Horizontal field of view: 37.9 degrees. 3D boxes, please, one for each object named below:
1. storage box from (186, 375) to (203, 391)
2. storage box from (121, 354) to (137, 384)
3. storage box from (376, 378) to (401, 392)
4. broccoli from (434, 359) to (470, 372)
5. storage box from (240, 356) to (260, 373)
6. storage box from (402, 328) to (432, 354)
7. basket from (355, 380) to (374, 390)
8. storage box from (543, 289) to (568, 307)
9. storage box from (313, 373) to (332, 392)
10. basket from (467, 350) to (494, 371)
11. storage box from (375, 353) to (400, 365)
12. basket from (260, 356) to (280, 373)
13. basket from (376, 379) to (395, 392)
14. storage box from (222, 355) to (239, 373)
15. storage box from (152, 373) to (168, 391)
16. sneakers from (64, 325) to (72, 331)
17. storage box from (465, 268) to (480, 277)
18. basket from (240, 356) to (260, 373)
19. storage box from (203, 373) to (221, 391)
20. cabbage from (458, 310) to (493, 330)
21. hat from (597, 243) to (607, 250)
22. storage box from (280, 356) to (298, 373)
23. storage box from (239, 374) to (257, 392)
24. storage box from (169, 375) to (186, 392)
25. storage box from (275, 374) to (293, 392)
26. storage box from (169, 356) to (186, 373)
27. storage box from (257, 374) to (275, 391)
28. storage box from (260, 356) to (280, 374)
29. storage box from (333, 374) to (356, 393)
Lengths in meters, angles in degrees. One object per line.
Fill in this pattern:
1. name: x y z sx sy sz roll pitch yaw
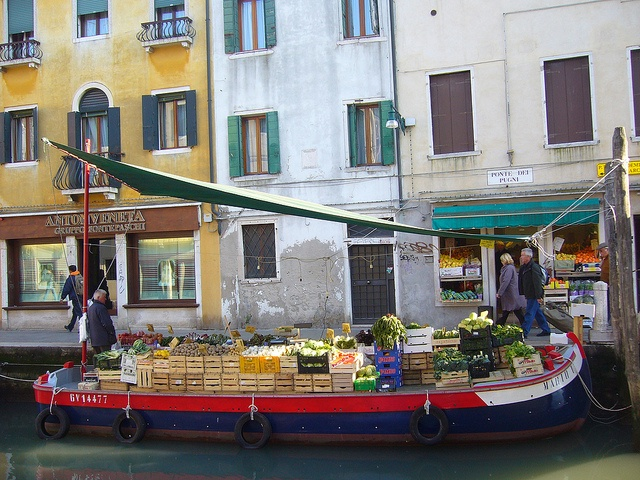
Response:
1. storage box: -2.705 3.124 20.288 0.354 0.360 0.262 0 -4 12
2. storage box: -4.191 2.884 20.620 0.538 0.549 0.144 2 -4 23
3. storage box: 1.443 3.107 19.793 0.330 0.210 0.332 -1 -5 6
4. broccoli: 2.794 2.642 19.530 0.395 0.179 0.391 3 6 43
5. storage box: -1.497 2.703 20.073 0.371 0.235 0.374 0 1 5
6. storage box: 2.124 2.198 20.244 0.540 0.539 0.361 -2 11 0
7. basket: 0.969 3.096 19.712 0.271 0.145 0.271 0 0 4
8. storage box: 6.091 1.456 23.973 0.575 0.540 0.373 1 3 10
9. storage box: 0.063 3.063 19.786 0.359 0.276 0.363 0 -3 -1
10. basket: 3.420 2.546 19.650 0.426 0.264 0.432 -3 7 -1
11. storage box: 1.475 2.556 19.863 0.538 0.239 0.102 -5 -2 -4
12. basket: -1.060 2.695 20.003 0.425 0.349 0.340 0 -4 1
13. basket: 1.420 3.097 19.799 0.420 0.254 0.104 -5 -2 4
14. storage box: -1.904 2.725 20.138 0.356 0.366 0.224 1 -1 9
15. storage box: -3.464 3.121 20.333 0.351 0.363 0.219 1 1 14
16. sneakers: -7.273 2.594 27.014 0.151 0.122 0.360 -23 3 -10
17. storage box: 4.158 0.890 25.257 0.249 0.158 0.250 1 1 5
18. basket: -1.495 2.708 20.073 0.369 0.231 0.372 0 1 5
19. storage box: -2.308 3.098 20.177 0.377 0.385 0.278 1 -2 7
20. cabbage: 3.362 1.794 20.087 0.540 0.251 0.430 -12 1 38
21. hat: 6.956 0.161 22.911 0.218 0.089 0.156 1 0 2
22. storage box: -0.650 2.690 19.914 0.341 0.353 0.218 -2 0 9
23. storage box: -1.535 3.102 20.085 0.377 0.242 0.383 1 -6 -6
24. storage box: -3.089 3.144 20.348 0.362 0.355 0.221 0 -5 12
25. storage box: -0.699 3.028 20.096 0.488 0.487 0.348 0 -2 0
26. storage box: -3.093 2.755 20.354 0.346 0.362 0.222 1 0 10
27. storage box: -1.131 3.114 20.073 0.374 0.355 0.376 0 -11 -4
28. storage box: -1.060 2.701 20.007 0.424 0.349 0.342 0 -4 1
29. storage box: 0.505 3.050 19.616 0.408 0.269 0.417 0 -1 3
